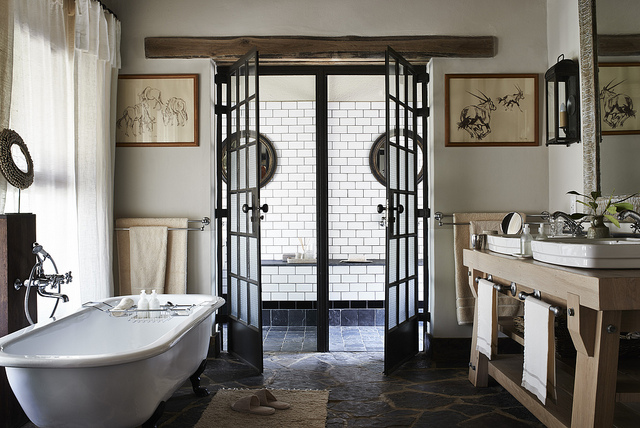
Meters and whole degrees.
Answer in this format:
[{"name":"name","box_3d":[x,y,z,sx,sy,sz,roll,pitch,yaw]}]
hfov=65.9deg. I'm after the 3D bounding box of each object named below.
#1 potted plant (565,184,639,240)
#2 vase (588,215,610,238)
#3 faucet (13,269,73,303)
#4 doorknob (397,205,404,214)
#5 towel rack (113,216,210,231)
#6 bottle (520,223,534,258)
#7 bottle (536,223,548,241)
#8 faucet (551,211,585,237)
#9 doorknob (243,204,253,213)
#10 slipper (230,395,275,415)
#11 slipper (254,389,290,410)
[{"name":"potted plant","box_3d":[2.199,-0.002,3.858,0.444,0.292,0.438,2,-3,-4]},{"name":"vase","box_3d":[2.052,0.095,3.657,0.163,0.177,0.162,-1,0,-5]},{"name":"faucet","box_3d":[-2.064,0.529,3.636,0.412,0.231,0.117,-3,-6,0]},{"name":"doorknob","box_3d":[0.758,-0.044,4.657,0.029,0.087,0.130,4,9,23]},{"name":"towel rack","box_3d":[-1.511,0.106,4.833,0.832,0.142,0.126,-1,8,-6]},{"name":"bottle","box_3d":[1.519,0.208,3.625,0.093,0.234,0.311,4,9,22]},{"name":"bottle","box_3d":[1.836,0.148,4.072,0.112,0.167,0.112,0,3,0]},{"name":"faucet","box_3d":[1.980,0.073,3.937,0.224,0.184,0.302,-1,8,-5]},{"name":"doorknob","box_3d":[-0.677,-0.052,4.594,0.086,0.065,0.109,-2,8,-12]},{"name":"slipper","box_3d":[-0.532,1.485,3.868,0.276,0.097,0.144,-5,-10,20]},{"name":"slipper","box_3d":[-0.395,1.494,3.982,0.322,0.106,0.109,-7,-8,43]}]
